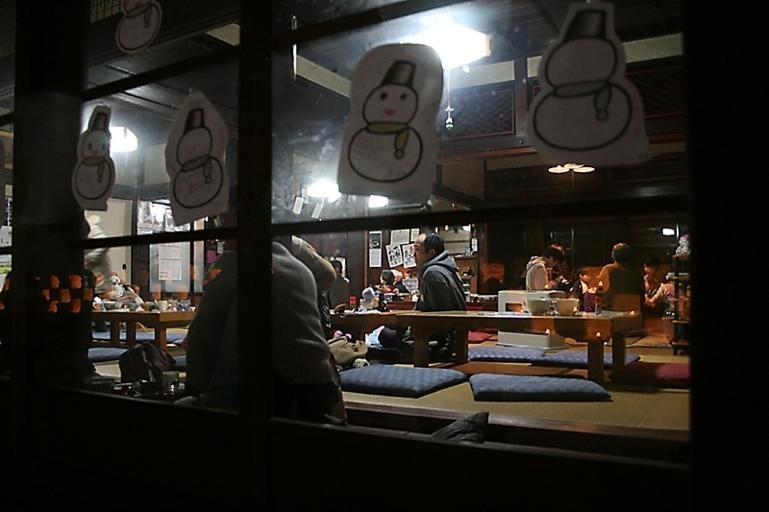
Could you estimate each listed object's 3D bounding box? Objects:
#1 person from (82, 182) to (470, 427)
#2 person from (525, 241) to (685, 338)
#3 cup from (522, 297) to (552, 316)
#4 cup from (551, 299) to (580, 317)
[{"bbox_3d":[-0.359,0.261,2.229,0.724,0.754,0.808,9,-8,-37],"label":"person"},{"bbox_3d":[2.069,0.312,5.541,0.781,0.873,1.570,-5,-13,-6],"label":"person"},{"bbox_3d":[1.042,0.345,4.040,0.125,0.078,0.125,0,-7,0],"label":"cup"},{"bbox_3d":[1.216,0.343,4.005,0.125,0.073,0.126,-1,-9,0],"label":"cup"}]
